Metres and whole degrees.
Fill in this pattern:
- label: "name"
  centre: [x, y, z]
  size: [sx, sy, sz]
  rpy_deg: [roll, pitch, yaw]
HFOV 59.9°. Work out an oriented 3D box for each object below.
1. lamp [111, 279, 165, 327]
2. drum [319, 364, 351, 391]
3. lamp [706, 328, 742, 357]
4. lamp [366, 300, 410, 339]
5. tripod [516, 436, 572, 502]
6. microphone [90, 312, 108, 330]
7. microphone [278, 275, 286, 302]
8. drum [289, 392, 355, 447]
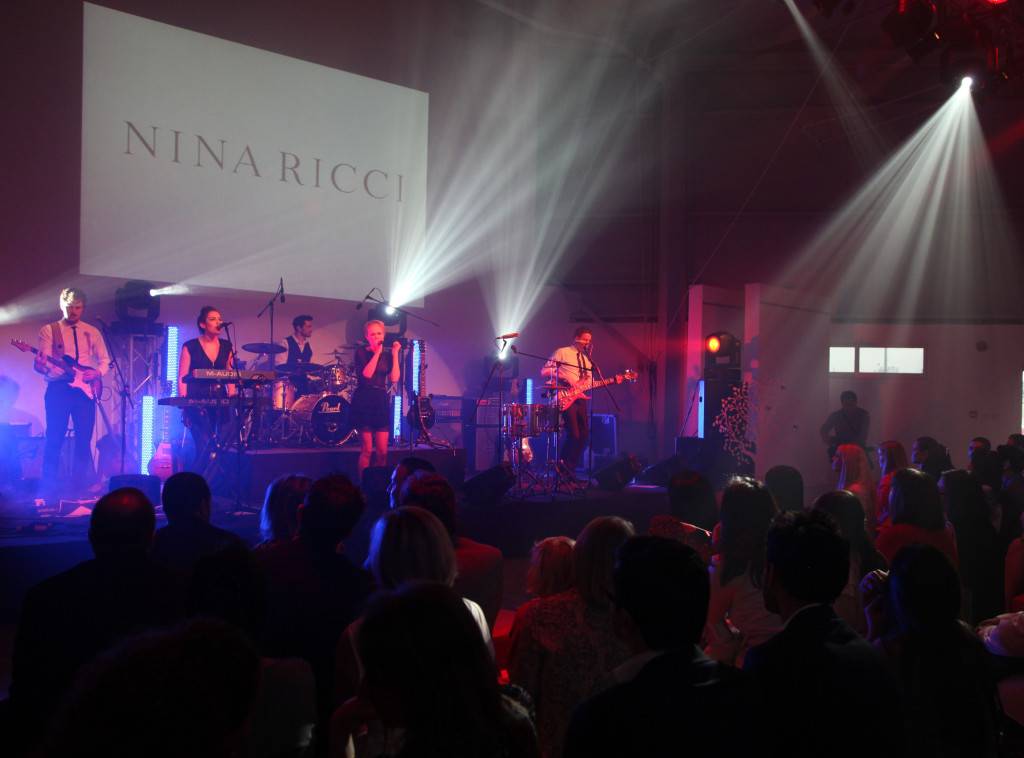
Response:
- label: "lamp"
  centre: [-3.631, -0.725, 8.563]
  size: [0.412, 0.600, 0.220]
  rpy_deg: [5, -5, -39]
- label: "drum"
  centre: [-1.794, 0.010, 9.102]
  size: [0.231, 0.253, 0.244]
  rpy_deg: [5, -11, -26]
- label: "lamp"
  centre: [2.693, -0.434, 11.244]
  size: [0.436, 0.281, 0.241]
  rpy_deg: [2, -1, 11]
- label: "lamp"
  centre: [-1.353, -0.682, 10.096]
  size: [0.405, 0.478, 0.486]
  rpy_deg: [5, 7, 23]
- label: "tripod"
  centre: [0.352, 0.865, 8.859]
  size: [0.546, 0.546, 0.514]
  rpy_deg: [-9, -15, 39]
- label: "microphone"
  centre: [-3.934, -0.545, 8.494]
  size: [0.168, 0.043, 0.121]
  rpy_deg: [17, -12, 38]
- label: "microphone"
  centre: [-2.460, -0.944, 9.519]
  size: [0.068, 0.206, 0.286]
  rpy_deg: [2, -1, -15]
- label: "drum"
  centre: [-1.834, 0.409, 8.754]
  size: [0.491, 0.560, 0.529]
  rpy_deg: [4, -7, 35]
